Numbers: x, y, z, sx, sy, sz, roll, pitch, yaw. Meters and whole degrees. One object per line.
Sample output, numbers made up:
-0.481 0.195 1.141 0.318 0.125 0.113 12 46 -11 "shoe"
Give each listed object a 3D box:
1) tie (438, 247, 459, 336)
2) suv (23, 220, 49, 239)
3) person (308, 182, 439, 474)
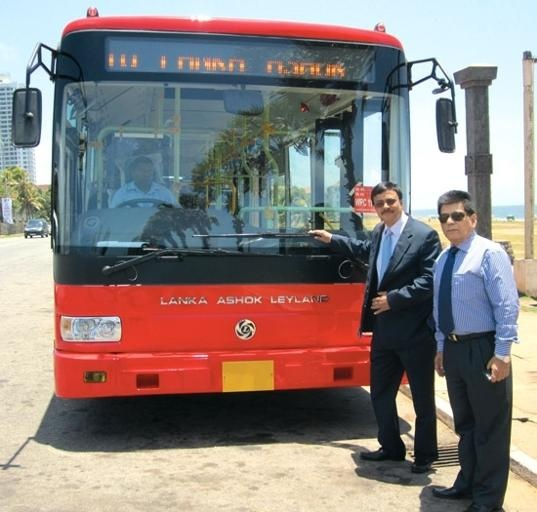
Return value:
1.088 0.224 3.575 0.053 0.552 0.108 11 -12 -25 "tie"
-26.269 -3.068 65.121 1.770 1.680 3.540 -1 -2 -10 "suv"
0.892 0.503 4.259 0.741 2.060 0.494 1 2 33 "person"
